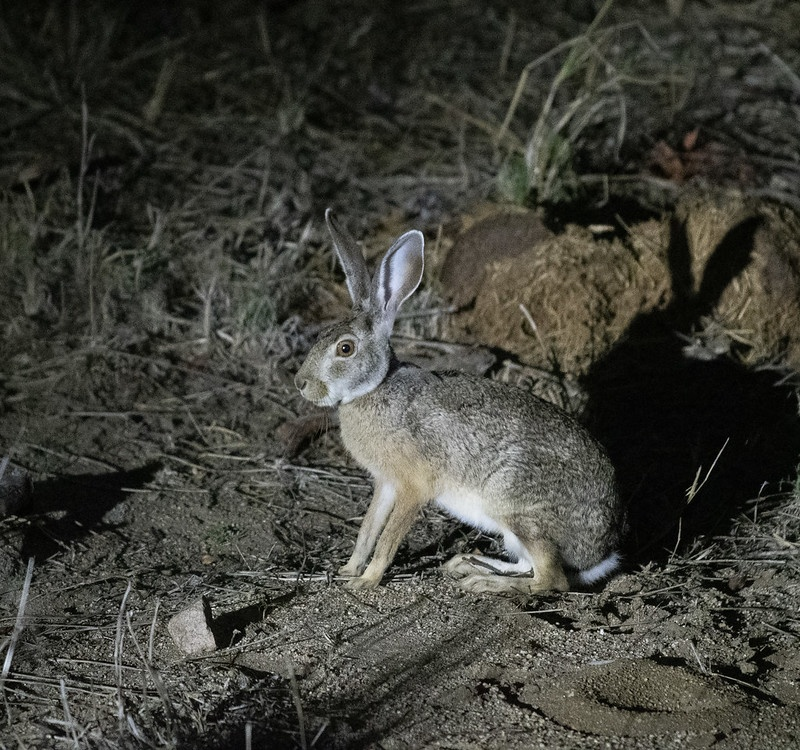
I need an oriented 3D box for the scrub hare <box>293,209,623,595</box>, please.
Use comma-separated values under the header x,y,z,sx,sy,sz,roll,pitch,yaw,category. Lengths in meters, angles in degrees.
x,y,z,sx,sy,sz,roll,pitch,yaw,category
0.306,0.135,4.772,1.590,1.891,0.707,1,4,0,scrub hare
